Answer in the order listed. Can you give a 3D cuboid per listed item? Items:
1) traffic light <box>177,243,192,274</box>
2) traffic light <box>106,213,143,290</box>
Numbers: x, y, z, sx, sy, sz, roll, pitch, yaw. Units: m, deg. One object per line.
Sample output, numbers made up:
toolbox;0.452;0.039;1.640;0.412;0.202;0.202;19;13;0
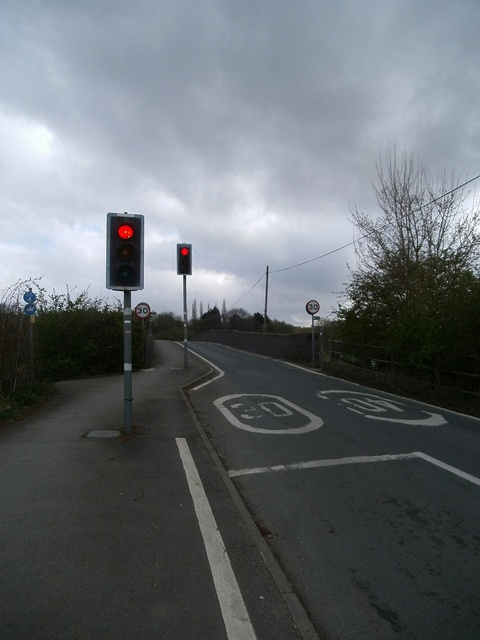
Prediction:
traffic light;-1.998;-2.140;17.015;0.460;1.108;0.309;0;2;-20
traffic light;-1.650;-0.974;6.879;0.497;1.109;0.264;0;2;-23
